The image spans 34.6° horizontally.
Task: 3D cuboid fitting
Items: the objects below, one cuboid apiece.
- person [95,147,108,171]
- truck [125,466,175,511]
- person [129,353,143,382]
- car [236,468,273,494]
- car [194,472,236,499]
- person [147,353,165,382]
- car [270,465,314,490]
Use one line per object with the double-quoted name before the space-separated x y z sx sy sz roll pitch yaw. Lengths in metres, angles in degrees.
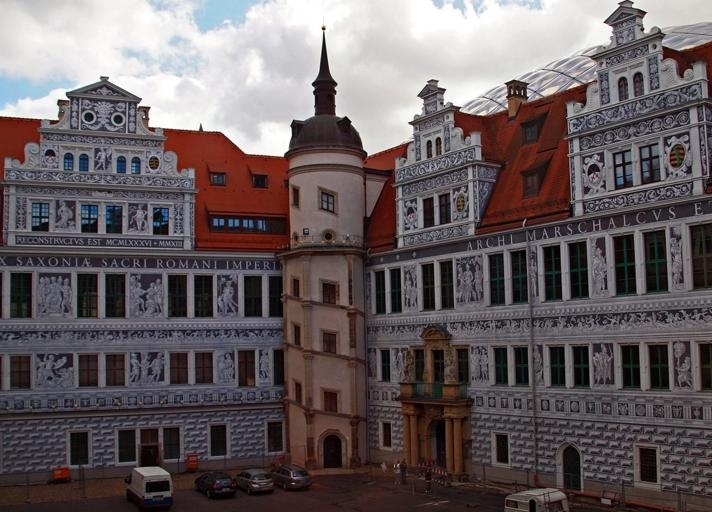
"person" -16.869 -6.475 76.338 0.883 1.516 0.226 2 -12 -14
"truck" -11.644 13.045 65.241 1.709 1.420 2.873 2 -3 -28
"person" -14.429 7.241 75.335 0.832 1.985 0.315 2 -12 -12
"car" -6.153 13.450 69.044 1.115 0.760 2.369 2 -2 -28
"car" -8.309 13.510 67.937 1.316 1.535 2.554 7 -14 -34
"person" -13.096 7.281 75.764 1.073 2.002 0.284 5 -13 -24
"car" -3.924 13.382 69.620 1.161 1.517 2.551 8 -14 -37
